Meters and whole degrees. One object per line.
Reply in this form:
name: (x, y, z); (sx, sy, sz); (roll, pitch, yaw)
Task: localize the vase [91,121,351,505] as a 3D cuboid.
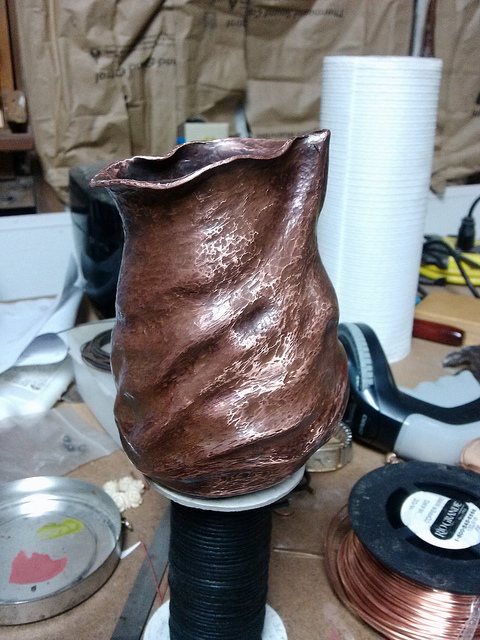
vase: (-0.013, -0.003, 0.526); (0.191, 0.294, 0.175); (10, 28, 20)
